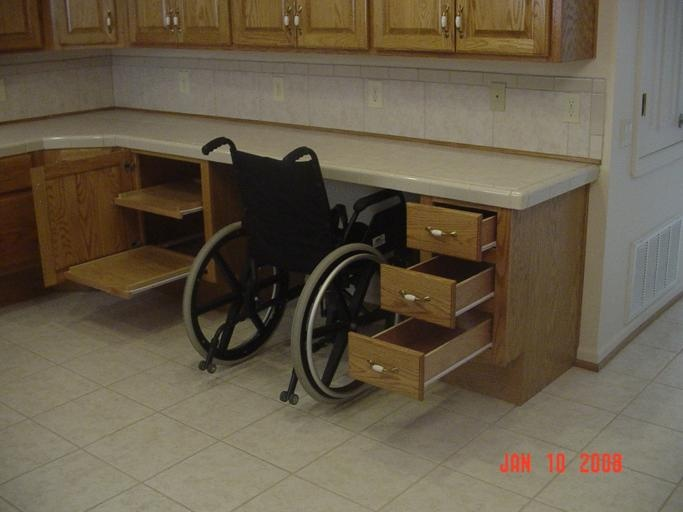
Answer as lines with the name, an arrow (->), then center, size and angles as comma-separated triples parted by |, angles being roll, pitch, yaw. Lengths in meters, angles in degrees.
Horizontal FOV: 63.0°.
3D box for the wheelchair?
wheelchair -> -0.113, 0.034, 2.726 | 0.872, 1.107, 1.140 | 13, 22, 42
